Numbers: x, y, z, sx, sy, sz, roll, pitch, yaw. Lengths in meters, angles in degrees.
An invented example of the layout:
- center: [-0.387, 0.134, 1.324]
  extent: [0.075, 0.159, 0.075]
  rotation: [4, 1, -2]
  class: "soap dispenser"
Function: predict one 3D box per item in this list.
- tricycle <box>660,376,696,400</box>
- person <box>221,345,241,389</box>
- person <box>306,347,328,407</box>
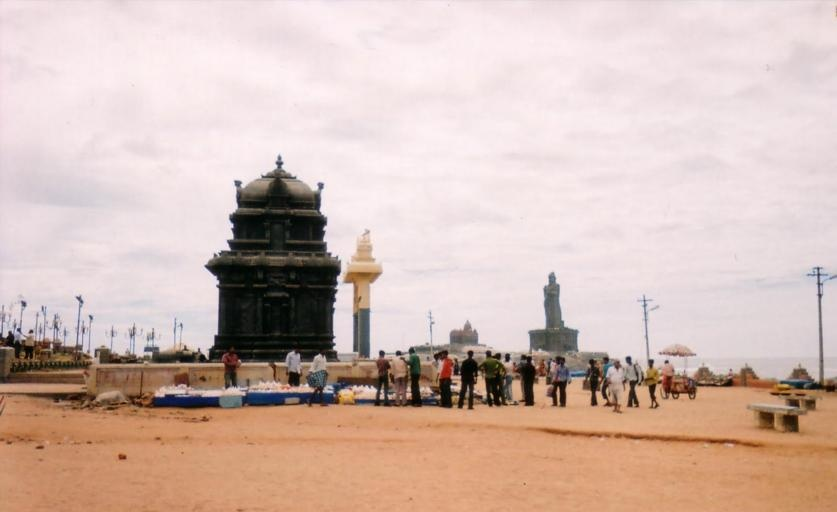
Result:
- center: [12.463, 6.276, 57.726]
  extent: [1.681, 0.994, 1.031]
  rotation: [0, -6, 8]
  class: "tricycle"
- center: [-8.201, 4.878, 52.562]
  extent: [0.635, 1.680, 1.567]
  rotation: [0, 7, -8]
  class: "person"
- center: [-4.291, 5.123, 50.550]
  extent: [0.720, 2.254, 1.496]
  rotation: [1, 7, -5]
  class: "person"
